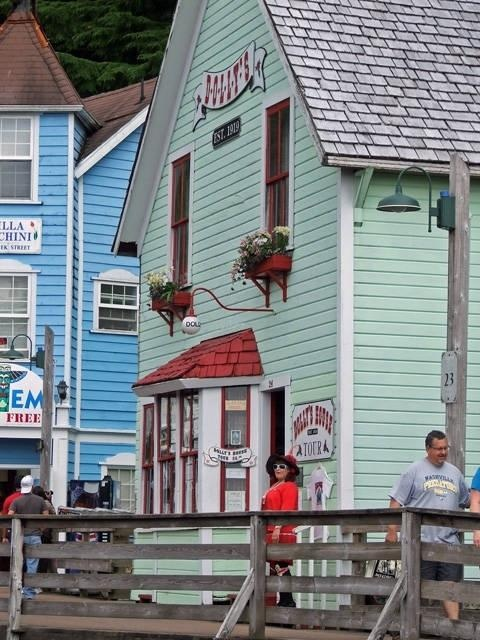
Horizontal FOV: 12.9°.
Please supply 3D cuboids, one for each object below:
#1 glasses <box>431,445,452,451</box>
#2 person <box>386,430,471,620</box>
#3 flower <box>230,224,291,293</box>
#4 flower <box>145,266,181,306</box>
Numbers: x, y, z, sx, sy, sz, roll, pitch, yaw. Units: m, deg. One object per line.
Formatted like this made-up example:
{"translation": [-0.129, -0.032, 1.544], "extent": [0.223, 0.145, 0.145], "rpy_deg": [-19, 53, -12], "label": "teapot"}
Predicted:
{"translation": [1.714, 1.093, 17.922], "extent": [0.100, 0.038, 0.112], "rpy_deg": [1, -15, -7], "label": "glasses"}
{"translation": [1.642, 1.763, 17.710], "extent": [0.777, 1.801, 0.430], "rpy_deg": [-5, -31, 10], "label": "person"}
{"translation": [0.215, -0.732, 22.388], "extent": [0.457, 0.506, 0.778], "rpy_deg": [2, -8, -25], "label": "flower"}
{"translation": [-0.894, -0.390, 24.729], "extent": [0.314, 0.431, 0.407], "rpy_deg": [7, -36, -9], "label": "flower"}
